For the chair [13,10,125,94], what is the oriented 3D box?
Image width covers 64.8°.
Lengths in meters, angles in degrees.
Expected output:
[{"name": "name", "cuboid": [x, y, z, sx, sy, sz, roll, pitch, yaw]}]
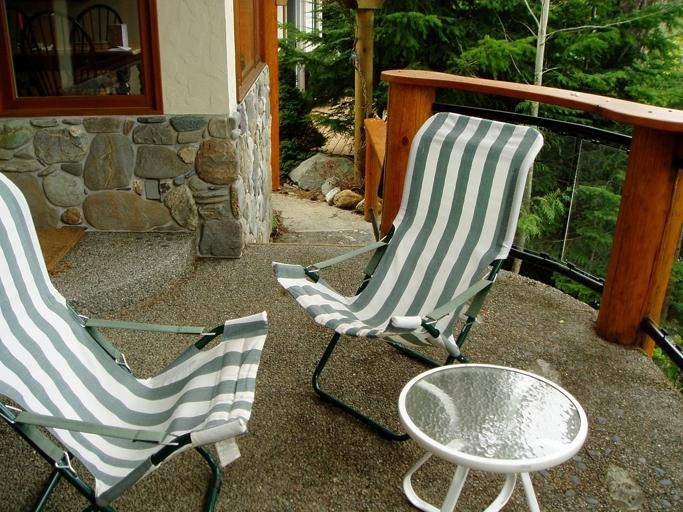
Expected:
[{"name": "chair", "cuboid": [-2.006, -1.475, 3.949, 0.415, 0.761, 0.463, 8, 42, 6]}]

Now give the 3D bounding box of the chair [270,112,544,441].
[{"name": "chair", "cuboid": [0.377, 0.017, 2.842, 0.933, 1.331, 1.228, 19, 30, 35]}]
